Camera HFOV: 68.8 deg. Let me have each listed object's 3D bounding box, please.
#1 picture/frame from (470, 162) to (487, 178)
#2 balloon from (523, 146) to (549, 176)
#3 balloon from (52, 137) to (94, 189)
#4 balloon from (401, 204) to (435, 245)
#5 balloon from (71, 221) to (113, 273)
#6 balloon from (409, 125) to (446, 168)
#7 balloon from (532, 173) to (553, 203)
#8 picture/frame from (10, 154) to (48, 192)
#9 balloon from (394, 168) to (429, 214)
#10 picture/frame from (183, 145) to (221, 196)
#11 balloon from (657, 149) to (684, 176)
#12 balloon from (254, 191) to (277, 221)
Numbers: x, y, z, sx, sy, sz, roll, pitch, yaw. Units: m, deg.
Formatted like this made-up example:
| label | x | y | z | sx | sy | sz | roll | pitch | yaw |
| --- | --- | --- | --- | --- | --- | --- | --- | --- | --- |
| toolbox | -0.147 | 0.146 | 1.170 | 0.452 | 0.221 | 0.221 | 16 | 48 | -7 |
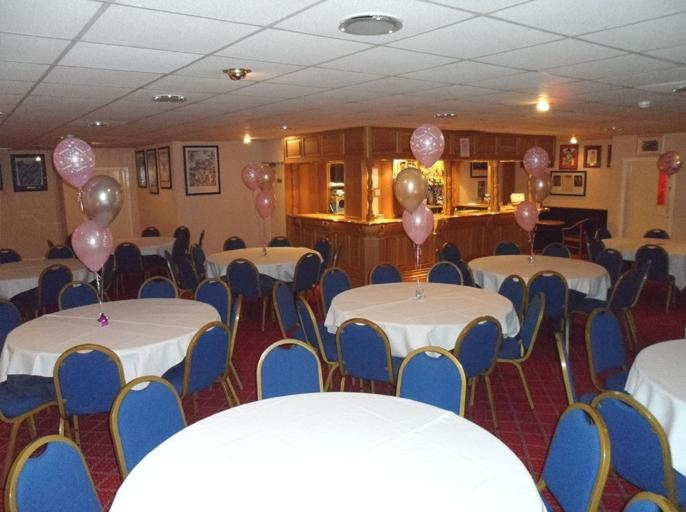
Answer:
| label | x | y | z | sx | sy | sz | roll | pitch | yaw |
| --- | --- | --- | --- | --- | --- | --- | --- | --- | --- |
| picture/frame | 2.994 | -1.910 | 11.028 | 0.299 | 0.300 | 0.032 | 1 | 15 | 10 |
| balloon | 2.757 | -1.344 | 7.169 | 0.270 | 0.387 | 0.328 | 3 | 9 | 30 |
| balloon | -2.575 | -0.885 | 4.822 | 0.324 | 0.476 | 0.358 | -5 | 9 | -30 |
| balloon | 0.754 | -0.305 | 5.179 | 0.376 | 0.505 | 0.398 | 0 | 23 | 0 |
| balloon | -2.290 | -0.093 | 4.615 | 0.362 | 0.495 | 0.376 | 2 | 3 | 21 |
| balloon | 0.859 | -1.103 | 5.110 | 0.403 | 0.519 | 0.415 | -1 | 7 | 8 |
| balloon | 2.945 | -1.012 | 7.427 | 0.261 | 0.408 | 0.526 | 2 | 8 | 21 |
| picture/frame | -7.133 | -1.906 | 11.363 | 0.752 | 0.938 | 0.115 | -13 | 24 | -41 |
| balloon | 0.697 | -0.667 | 5.165 | 0.380 | 0.504 | 0.392 | -2 | -8 | 5 |
| picture/frame | -3.050 | -1.863 | 10.754 | 0.061 | 1.298 | 0.965 | 9 | 12 | 44 |
| balloon | 5.800 | -1.618 | 8.894 | 0.423 | 0.529 | 0.436 | 1 | 1 | 5 |
| balloon | -1.262 | -0.788 | 8.376 | 0.501 | 0.667 | 0.512 | 1 | 3 | -6 |
